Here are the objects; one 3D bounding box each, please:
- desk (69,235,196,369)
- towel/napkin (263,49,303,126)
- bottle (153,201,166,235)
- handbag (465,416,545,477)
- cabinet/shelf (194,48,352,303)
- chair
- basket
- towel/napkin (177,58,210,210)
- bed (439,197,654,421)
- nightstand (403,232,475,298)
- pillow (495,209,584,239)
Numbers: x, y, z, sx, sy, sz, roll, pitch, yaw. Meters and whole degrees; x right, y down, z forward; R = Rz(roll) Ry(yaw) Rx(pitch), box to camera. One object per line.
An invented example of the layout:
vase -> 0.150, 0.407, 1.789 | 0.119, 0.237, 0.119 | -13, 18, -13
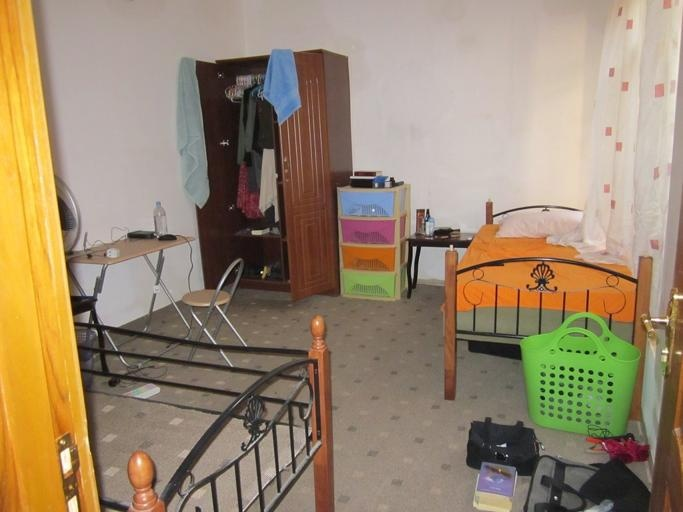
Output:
desk -> -1.697, 0.362, 4.249 | 0.453, 0.627, 0.885 | 5, 15, 13
towel/napkin -> -0.547, -1.536, 4.915 | 0.458, 0.623, 0.177 | 1, 12, -13
bottle -> -1.727, -0.376, 5.057 | 0.124, 0.283, 0.264 | -4, 11, -17
handbag -> 0.870, 0.975, 2.853 | 0.242, 0.114, 0.279 | 3, 9, 19
cabinet/shelf -> -0.670, -0.781, 5.681 | 1.314, 2.498, 1.220 | 2, 17, 13
chair -> -0.980, 0.389, 4.107 | 0.462, 0.794, 0.396 | 8, 15, 11
basket -> 1.378, 0.697, 3.018 | 0.596, 0.614, 0.371 | 8, 22, 31
towel/napkin -> -1.484, -1.205, 5.296 | 0.305, 1.447, 0.147 | -5, 12, -24
bed -> 1.645, 0.210, 4.463 | 1.206, 1.041, 2.363 | 2, 14, 20
nightstand -> 0.995, 0.090, 5.546 | 0.641, 0.576, 0.519 | 4, 7, 18
pillow -> 1.806, -0.302, 4.808 | 0.450, 0.116, 0.372 | -1, 32, 24
